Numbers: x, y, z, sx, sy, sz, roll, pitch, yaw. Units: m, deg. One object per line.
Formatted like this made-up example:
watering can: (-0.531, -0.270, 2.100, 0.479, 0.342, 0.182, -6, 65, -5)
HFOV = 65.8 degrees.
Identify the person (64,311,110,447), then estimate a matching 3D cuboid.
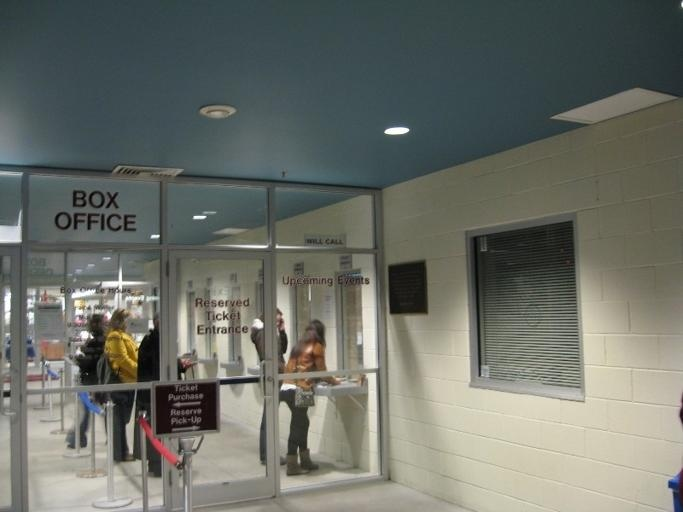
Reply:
person: (-2.507, 1.230, 5.221, 0.324, 1.297, 0.081, 2, -7, -26)

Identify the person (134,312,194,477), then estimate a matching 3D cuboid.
person: (-1.857, 1.437, 5.466, 0.509, 1.644, 0.129, 1, -7, -19)

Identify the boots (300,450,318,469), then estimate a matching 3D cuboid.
boots: (-0.380, 2.320, 6.029, 0.245, 0.248, 0.116, 2, -4, -16)

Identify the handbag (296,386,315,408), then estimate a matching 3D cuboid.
handbag: (-0.412, 1.601, 5.973, 0.222, 0.225, 0.124, 2, -5, -11)

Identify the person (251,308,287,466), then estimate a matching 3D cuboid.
person: (-0.790, 1.448, 5.854, 0.411, 1.695, 0.145, 0, -6, -9)
